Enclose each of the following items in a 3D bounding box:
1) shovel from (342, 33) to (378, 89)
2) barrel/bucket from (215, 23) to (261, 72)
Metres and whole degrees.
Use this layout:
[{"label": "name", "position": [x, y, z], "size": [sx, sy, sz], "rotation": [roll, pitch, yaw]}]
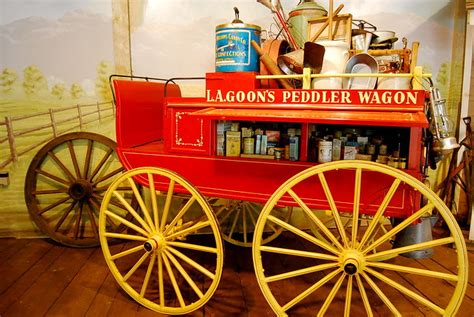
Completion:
[{"label": "shovel", "position": [1.014, -0.805, 2.833], "size": [0.259, 0.505, 0.433], "rotation": [3, 8, 18]}, {"label": "barrel/bucket", "position": [0.007, -0.958, 3.118], "size": [0.425, 0.412, 0.393], "rotation": [0, 13, 0]}]
